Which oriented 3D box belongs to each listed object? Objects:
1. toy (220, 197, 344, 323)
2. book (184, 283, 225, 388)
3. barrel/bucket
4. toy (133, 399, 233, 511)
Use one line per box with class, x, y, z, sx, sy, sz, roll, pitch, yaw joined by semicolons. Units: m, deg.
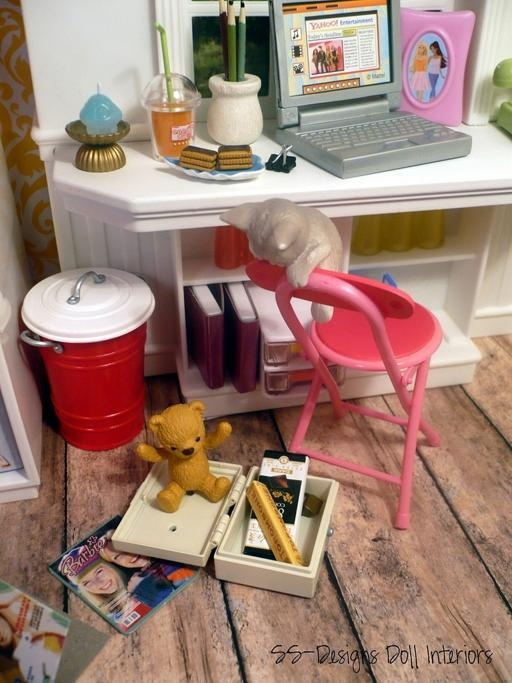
toy;0.067;-0.126;0.988;0.198;0.274;0.167;-24;41;-29
book;-0.140;-0.014;1.524;0.059;0.280;0.213;-14;37;-16
barrel/bucket;-0.439;0.047;1.398;0.336;0.369;0.282;-22;51;-24
toy;-0.176;0.284;1.307;0.196;0.192;0.134;-11;49;-15
